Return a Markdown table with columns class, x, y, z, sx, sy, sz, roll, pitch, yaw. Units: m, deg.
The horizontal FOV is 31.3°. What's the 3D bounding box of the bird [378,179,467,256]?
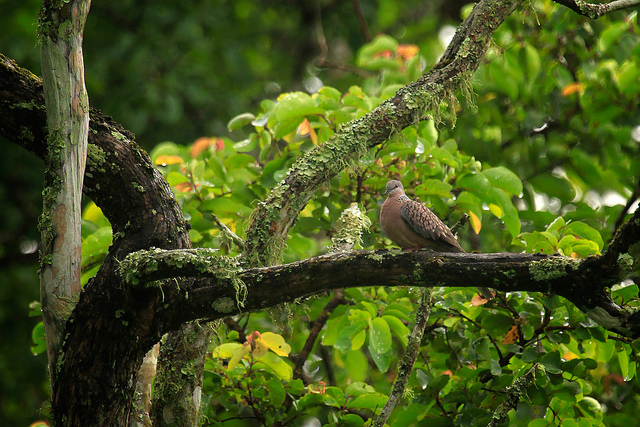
| class | x | y | z | sx | sy | sz | roll | pitch | yaw |
| --- | --- | --- | --- | --- | --- | --- | --- | --- | --- |
| bird | 0.998 | 0.016 | 11.086 | 0.911 | 0.754 | 0.530 | 0 | 0 | -28 |
